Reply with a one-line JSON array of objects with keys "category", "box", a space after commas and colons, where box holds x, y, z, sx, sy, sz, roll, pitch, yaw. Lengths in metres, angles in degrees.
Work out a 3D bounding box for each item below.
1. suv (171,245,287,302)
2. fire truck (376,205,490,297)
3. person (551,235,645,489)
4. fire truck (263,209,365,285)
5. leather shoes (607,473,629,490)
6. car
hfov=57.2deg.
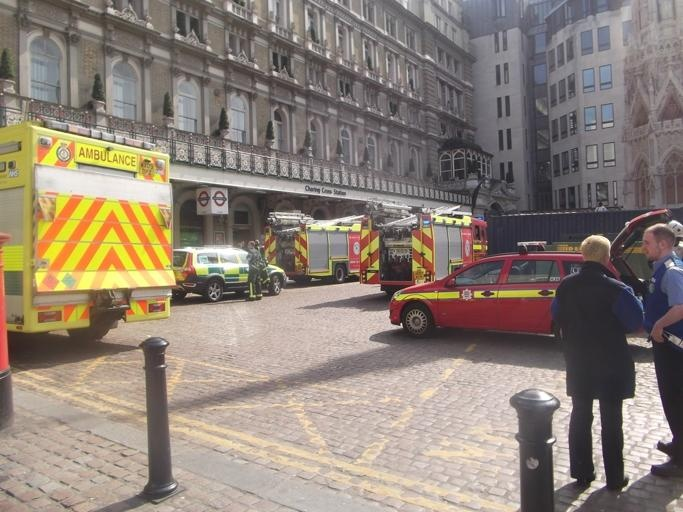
[{"category": "suv", "box": [-4.002, 0.477, 21.029, 1.577, 1.584, 3.463, 1, 5, 41]}, {"category": "fire truck", "box": [3.350, -0.238, 21.189, 1.918, 2.523, 4.636, 5, 5, 37]}, {"category": "person", "box": [2.578, 1.060, 6.335, 0.822, 2.509, 0.425, 2, 5, 23]}, {"category": "fire truck", "box": [-0.274, -0.660, 29.961, 2.469, 3.408, 7.654, 9, 6, 28]}, {"category": "leather shoes", "box": [2.758, 2.277, 6.238, 0.152, 0.129, 0.164, -3, 5, -4]}, {"category": "car", "box": [3.487, 0.499, 12.393, 5.378, 2.712, 1.724, 0, -14, 33]}]
